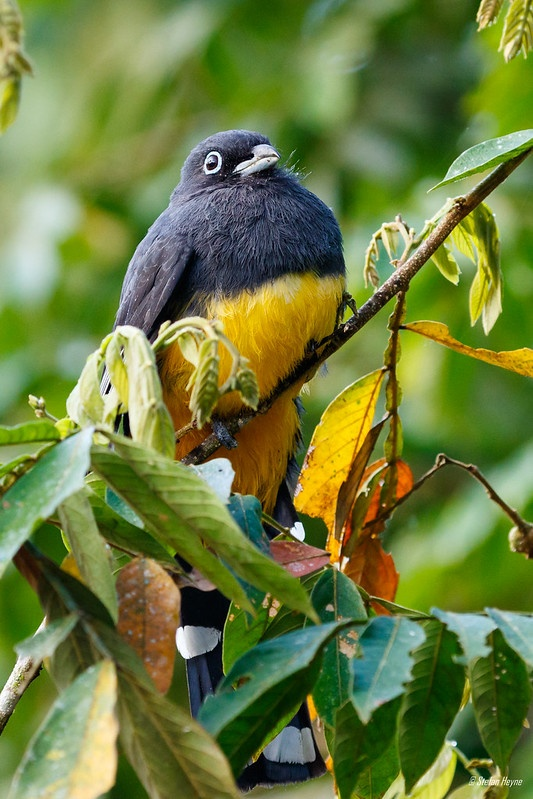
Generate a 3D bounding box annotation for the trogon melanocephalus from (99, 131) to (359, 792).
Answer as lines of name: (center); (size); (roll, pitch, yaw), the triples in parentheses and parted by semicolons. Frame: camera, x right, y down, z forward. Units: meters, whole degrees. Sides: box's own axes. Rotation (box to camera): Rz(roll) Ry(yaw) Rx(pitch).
trogon melanocephalus: (0.014, 0.139, 3.010); (0.603, 1.864, 0.809); (3, 8, -19)
